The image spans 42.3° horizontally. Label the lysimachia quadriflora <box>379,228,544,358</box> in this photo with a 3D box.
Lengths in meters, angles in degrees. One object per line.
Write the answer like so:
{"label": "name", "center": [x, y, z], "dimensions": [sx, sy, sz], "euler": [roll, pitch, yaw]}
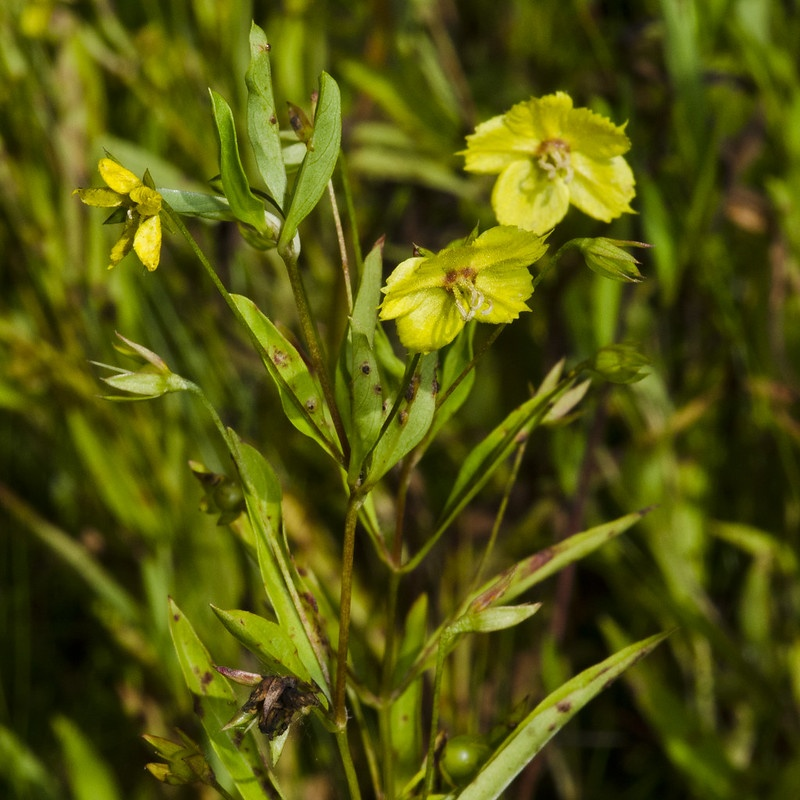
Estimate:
{"label": "lysimachia quadriflora", "center": [0.042, -0.078, 0.679], "dimensions": [0.080, 0.099, 0.039], "euler": [-31, 39, -15]}
